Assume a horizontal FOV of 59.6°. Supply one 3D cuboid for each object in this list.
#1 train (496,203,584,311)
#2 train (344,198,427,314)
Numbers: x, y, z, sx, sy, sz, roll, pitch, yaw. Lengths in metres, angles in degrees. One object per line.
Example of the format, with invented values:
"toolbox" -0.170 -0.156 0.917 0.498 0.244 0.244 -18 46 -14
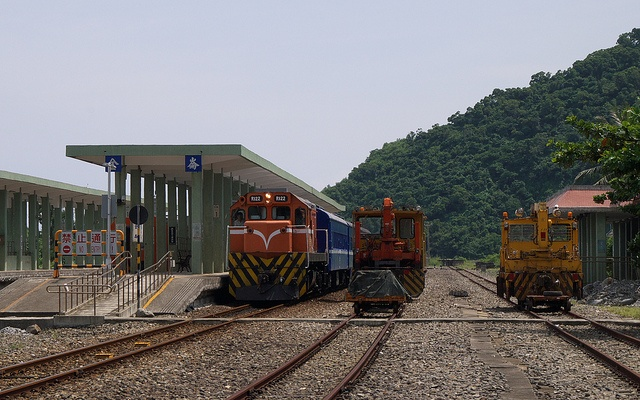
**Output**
"train" 8.992 2.317 22.967 3.038 4.426 2.370 0 -2 21
"train" 2.802 2.558 22.335 2.044 2.702 6.876 -1 -4 8
